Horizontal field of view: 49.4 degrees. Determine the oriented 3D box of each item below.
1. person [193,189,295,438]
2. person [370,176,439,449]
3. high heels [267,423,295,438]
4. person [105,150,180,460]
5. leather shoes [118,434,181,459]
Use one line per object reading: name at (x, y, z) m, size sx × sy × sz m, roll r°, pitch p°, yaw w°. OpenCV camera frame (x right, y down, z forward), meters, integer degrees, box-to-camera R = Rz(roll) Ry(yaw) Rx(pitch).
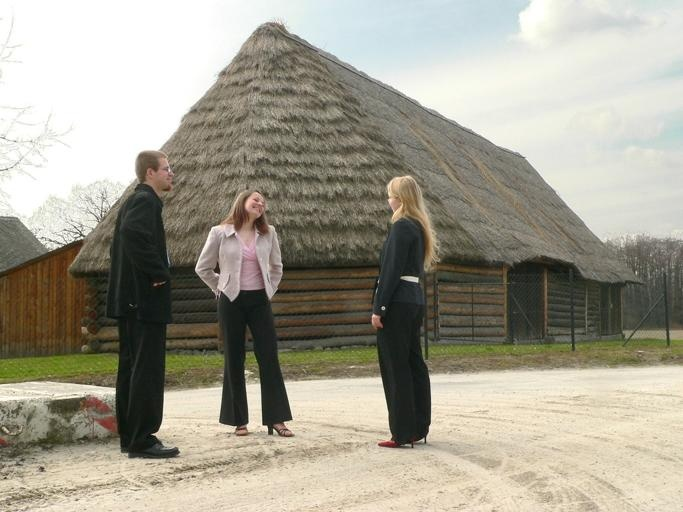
person at (-0.955, 0.549, 7.306) m, size 0.864 × 2.428 × 0.461 m, roll -1°, pitch -8°, yaw -9°
person at (0.585, 0.491, 6.965) m, size 0.659 × 2.531 × 0.378 m, roll -1°, pitch -8°, yaw -13°
high heels at (-0.576, 1.680, 7.081) m, size 0.253 × 0.108 × 0.111 m, roll -8°, pitch -7°, yaw 35°
person at (-1.782, 0.399, 6.632) m, size 0.591 × 2.749 × 0.443 m, roll 0°, pitch -8°, yaw -19°
leather shoes at (-1.674, 1.670, 6.480) m, size 0.472 × 0.220 × 0.184 m, roll -2°, pitch -6°, yaw 5°
